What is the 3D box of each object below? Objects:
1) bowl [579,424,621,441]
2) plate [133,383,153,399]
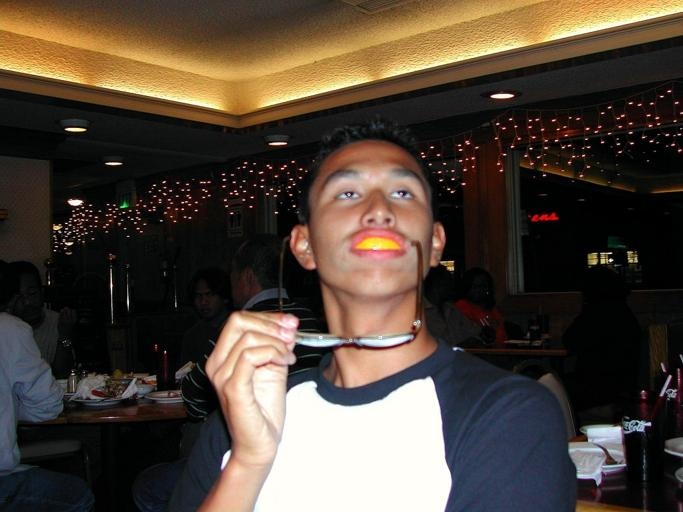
[{"bbox_3d":[1.050,0.697,2.136,0.128,0.050,0.088,-5,-10,20],"label":"bowl"},{"bbox_3d":[-1.408,0.950,3.731,0.107,0.059,0.098,-1,-4,16],"label":"plate"}]
